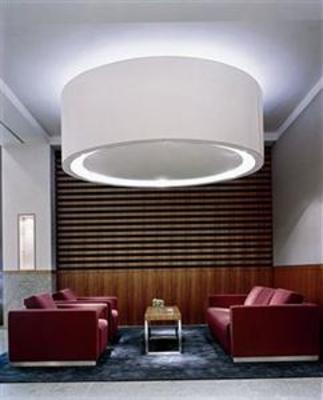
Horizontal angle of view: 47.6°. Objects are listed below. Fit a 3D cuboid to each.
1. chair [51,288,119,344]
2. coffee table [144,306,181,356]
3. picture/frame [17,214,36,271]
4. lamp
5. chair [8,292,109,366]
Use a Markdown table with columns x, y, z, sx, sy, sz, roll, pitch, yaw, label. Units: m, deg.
| x | y | z | sx | sy | sz | roll | pitch | yaw | label |
| --- | --- | --- | --- | --- | --- | --- | --- | --- | --- |
| -1.126 | 1.586 | 5.427 | 0.900 | 0.842 | 0.868 | 0 | -7 | 1 | chair |
| 0.017 | 1.774 | 5.117 | 0.444 | 0.504 | 1.068 | -1 | -8 | 0 | coffee table |
| -2.451 | 0.772 | 6.646 | 0.330 | 0.996 | 0.120 | -2 | -6 | 12 | picture/frame |
| -0.032 | -0.597 | 3.857 | 1.995 | 0.790 | 2.090 | -5 | -10 | 4 | lamp |
| -1.176 | 1.374 | 4.256 | 0.772 | 0.633 | 0.874 | -1 | -9 | -3 | chair |
